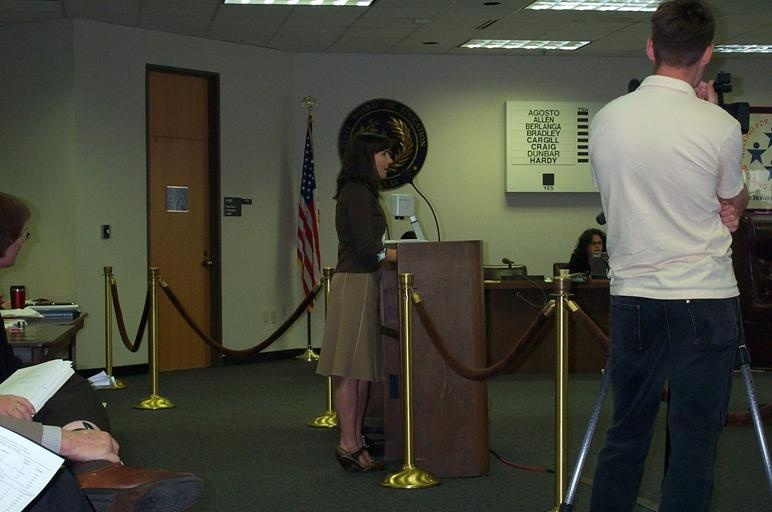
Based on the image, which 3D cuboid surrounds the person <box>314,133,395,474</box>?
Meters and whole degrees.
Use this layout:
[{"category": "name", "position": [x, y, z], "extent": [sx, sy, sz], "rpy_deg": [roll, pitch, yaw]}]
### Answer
[{"category": "person", "position": [-0.190, 0.294, 4.182], "extent": [0.489, 2.097, 0.362], "rpy_deg": [-1, 3, -7]}]

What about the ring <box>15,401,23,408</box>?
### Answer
[{"category": "ring", "position": [-1.276, 0.519, 2.341], "extent": [0.021, 0.019, 0.005], "rpy_deg": [3, -11, -29]}]

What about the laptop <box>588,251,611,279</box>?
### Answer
[{"category": "laptop", "position": [1.926, 0.093, 6.122], "extent": [0.157, 0.259, 0.276], "rpy_deg": [-1, 4, 8]}]

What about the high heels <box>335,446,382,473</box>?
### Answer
[{"category": "high heels", "position": [-0.142, 1.290, 4.273], "extent": [0.350, 0.144, 0.116], "rpy_deg": [-1, -1, -12]}]
